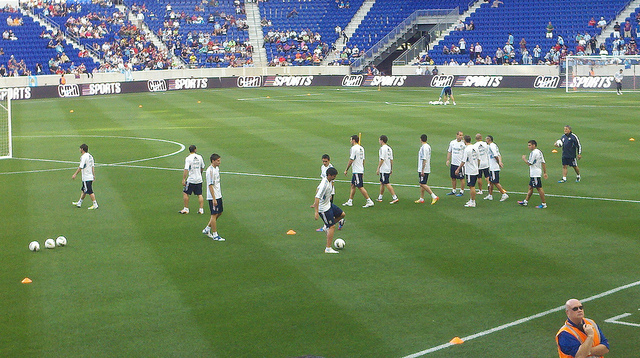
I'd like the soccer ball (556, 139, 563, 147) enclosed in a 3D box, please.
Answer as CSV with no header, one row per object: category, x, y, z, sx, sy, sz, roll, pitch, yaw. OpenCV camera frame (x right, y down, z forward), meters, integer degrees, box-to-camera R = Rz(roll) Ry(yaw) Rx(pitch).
soccer ball,12.147,-1.844,34.472,0.361,0.390,0.387,-1,47,1

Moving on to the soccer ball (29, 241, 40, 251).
soccer ball,-11.678,2.759,27.775,0.414,0.344,0.328,0,11,-3

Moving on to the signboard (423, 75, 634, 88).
signboard,20.099,-9.801,67.687,19.524,1.500,2.122,6,12,28

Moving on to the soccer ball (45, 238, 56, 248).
soccer ball,-11.087,2.668,27.886,0.418,0.346,0.233,0,12,-5

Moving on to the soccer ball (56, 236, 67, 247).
soccer ball,-10.655,2.604,28.130,0.519,0.364,0.392,-8,-24,-4

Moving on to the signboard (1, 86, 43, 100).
signboard,-28.557,-8.277,64.711,0.040,0.953,4.716,-3,5,35

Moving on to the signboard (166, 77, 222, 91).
signboard,-13.809,-10.626,75.012,5.646,1.283,1.346,-5,13,-30
